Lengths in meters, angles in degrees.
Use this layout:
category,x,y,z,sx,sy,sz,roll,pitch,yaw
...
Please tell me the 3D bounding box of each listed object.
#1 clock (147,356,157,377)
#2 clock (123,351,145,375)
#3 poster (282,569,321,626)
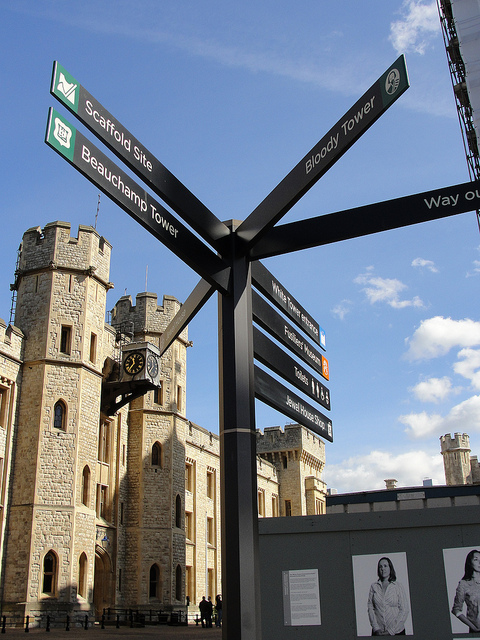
category,x,y,z,sx,sy,sz,roll,pitch,yaw
clock,-4.098,2.100,24.939,0.159,0.962,0.774,-9,-23,20
clock,-4.839,1.983,24.609,0.761,0.954,0.106,-10,-25,1
poster,0.600,2.828,5.567,0.419,0.699,0.047,-5,15,1
